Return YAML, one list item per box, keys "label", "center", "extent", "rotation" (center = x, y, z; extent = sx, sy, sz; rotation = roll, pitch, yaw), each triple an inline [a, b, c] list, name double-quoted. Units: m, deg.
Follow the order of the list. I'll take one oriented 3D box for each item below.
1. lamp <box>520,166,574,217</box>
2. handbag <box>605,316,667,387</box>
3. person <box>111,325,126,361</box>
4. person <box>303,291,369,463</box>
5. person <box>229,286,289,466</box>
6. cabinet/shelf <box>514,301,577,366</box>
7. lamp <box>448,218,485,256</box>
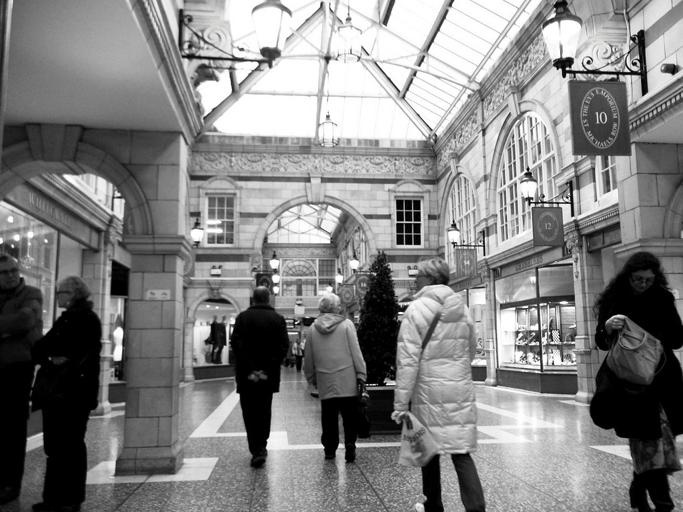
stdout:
- label: "lamp"
  center: [5.159, -1.506, 15.470]
  extent: [1.274, 1.609, 0.392]
  rotation: [1, -20, 10]
- label: "handbag"
  center: [2.715, 0.896, 5.766]
  extent: [0.475, 0.552, 0.273]
  rotation: [15, -9, 45]
- label: "person"
  center: [-6.007, 2.362, 16.578]
  extent: [0.239, 0.936, 0.758]
  rotation: [2, -7, -16]
- label: "person"
  center: [-0.085, 1.615, 8.312]
  extent: [0.825, 2.216, 0.503]
  rotation: [-1, -6, 9]
- label: "person"
  center: [-1.134, 1.586, 8.409]
  extent: [0.761, 2.368, 0.701]
  rotation: [1, -6, -10]
- label: "cabinet/shelf"
  center: [5.722, 2.291, 17.361]
  extent: [1.784, 1.739, 0.578]
  rotation: [-9, -15, 44]
- label: "lamp"
  center: [4.482, -0.688, 21.864]
  extent: [1.306, 1.239, 0.367]
  rotation: [1, 1, -10]
